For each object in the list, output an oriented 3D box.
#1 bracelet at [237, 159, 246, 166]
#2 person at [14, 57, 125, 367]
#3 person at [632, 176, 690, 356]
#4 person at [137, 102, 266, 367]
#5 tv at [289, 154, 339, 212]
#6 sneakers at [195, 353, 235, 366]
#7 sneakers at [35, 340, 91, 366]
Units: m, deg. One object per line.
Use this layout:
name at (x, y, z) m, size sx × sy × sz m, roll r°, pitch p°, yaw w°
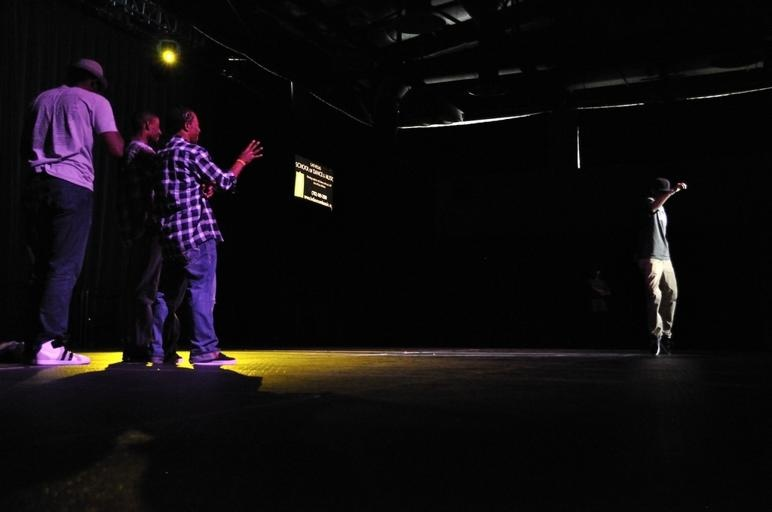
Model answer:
bracelet at (-0.969, -0.622, 4.060) m, size 0.040 × 0.043 × 0.043 m, roll 17°, pitch -37°, yaw -17°
person at (-1.999, -0.280, 3.716) m, size 0.551 × 1.883 × 0.701 m, roll 2°, pitch 7°, yaw 19°
person at (2.280, 0.105, 5.076) m, size 0.337 × 1.497 × 0.806 m, roll 2°, pitch 7°, yaw 26°
person at (-1.248, -0.129, 3.879) m, size 0.604 × 1.630 × 0.629 m, roll 0°, pitch 6°, yaw 7°
tv at (-1.053, -1.025, 8.600) m, size 0.036 × 0.572 × 0.839 m, roll -8°, pitch -12°, yaw 30°
sneakers at (-1.056, 0.640, 3.746) m, size 0.231 × 0.094 × 0.086 m, roll 1°, pitch -13°, yaw -14°
sneakers at (-1.934, 0.592, 3.595) m, size 0.318 × 0.136 × 0.102 m, roll 7°, pitch -10°, yaw -32°
